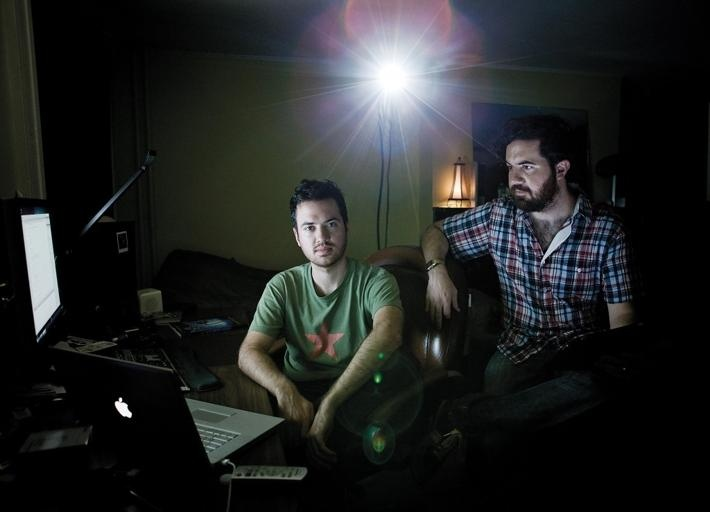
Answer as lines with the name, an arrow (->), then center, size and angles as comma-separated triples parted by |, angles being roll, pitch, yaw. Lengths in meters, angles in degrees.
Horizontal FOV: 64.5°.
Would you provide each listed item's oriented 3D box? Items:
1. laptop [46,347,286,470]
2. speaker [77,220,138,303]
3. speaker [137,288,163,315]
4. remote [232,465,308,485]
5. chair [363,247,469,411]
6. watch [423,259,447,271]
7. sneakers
laptop -> -0.517, 0.380, 1.590 | 0.545, 0.314, 0.425 | 1, 12, 40
speaker -> -0.971, 0.027, 2.215 | 0.222, 0.310, 0.098 | -6, 8, -41
speaker -> -0.904, 0.203, 2.481 | 0.103, 0.109, 0.105 | -3, 4, -24
remote -> -0.217, 0.554, 1.431 | 0.140, 0.029, 0.071 | 1, 0, -5
chair -> 0.165, 0.238, 2.233 | 0.397, 0.585, 0.496 | -8, -10, 15
watch -> 0.299, 0.033, 2.126 | 0.059, 0.038, 0.059 | 21, -30, -38
sneakers -> 0.311, 0.714, 2.178 | 0.116, 0.154, 0.399 | 27, -17, 31
